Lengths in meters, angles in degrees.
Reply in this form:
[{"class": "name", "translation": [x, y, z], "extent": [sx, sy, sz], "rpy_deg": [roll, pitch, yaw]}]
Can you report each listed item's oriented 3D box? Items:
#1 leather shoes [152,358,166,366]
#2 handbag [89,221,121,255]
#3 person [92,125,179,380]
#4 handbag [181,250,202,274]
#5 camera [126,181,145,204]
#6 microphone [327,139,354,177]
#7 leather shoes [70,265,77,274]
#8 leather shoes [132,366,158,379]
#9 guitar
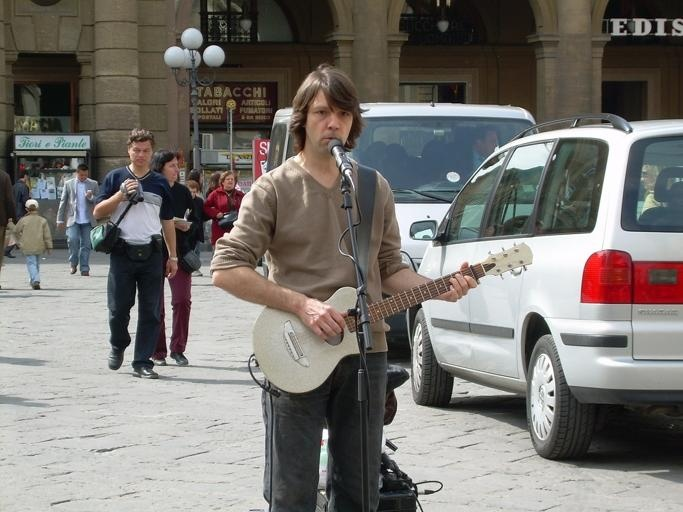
[{"class": "leather shoes", "translation": [-1.860, 1.062, 11.005], "extent": [0.064, 0.059, 0.166], "rpy_deg": [-3, -1, 33]}, {"class": "handbag", "translation": [-2.286, -0.197, 10.230], "extent": [0.228, 0.321, 0.314], "rpy_deg": [22, -31, -26]}, {"class": "person", "translation": [-1.967, -0.045, 10.332], "extent": [0.805, 2.341, 0.566], "rpy_deg": [-1, 6, -24]}, {"class": "handbag", "translation": [-1.545, 0.043, 10.999], "extent": [0.180, 0.227, 0.269], "rpy_deg": [0, 6, -6]}, {"class": "camera", "translation": [-1.956, -0.601, 10.219], "extent": [0.115, 0.209, 0.090], "rpy_deg": [13, -22, -31]}, {"class": "microphone", "translation": [0.003, -0.487, 5.141], "extent": [0.066, 0.076, 0.255], "rpy_deg": [-1, 39, -14]}, {"class": "leather shoes", "translation": [-5.087, 0.196, 20.312], "extent": [0.083, 0.252, 0.067], "rpy_deg": [6, 2, 17]}, {"class": "leather shoes", "translation": [-1.883, 1.100, 10.315], "extent": [0.272, 0.095, 0.101], "rpy_deg": [-2, -6, 41]}, {"class": "guitar", "translation": [0.400, 0.354, 6.283], "extent": [1.124, 0.417, 0.116], "rpy_deg": [-22, -4, -13]}]
